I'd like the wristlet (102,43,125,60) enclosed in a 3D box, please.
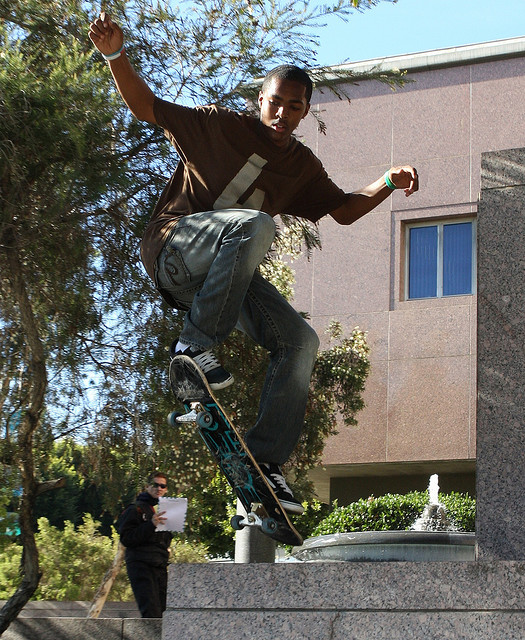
[{"bbox_3d":[-0.660,-1.189,3.769,0.091,0.082,0.115,-2,4,-7],"label":"wristlet"}]

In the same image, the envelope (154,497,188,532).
[{"bbox_3d":[-0.670,1.455,6.353,0.287,0.256,0.070,1,-6,30],"label":"envelope"}]

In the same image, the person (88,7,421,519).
[{"bbox_3d":[-0.079,-0.307,4.202,1.102,2.264,1.368,0,4,20],"label":"person"}]

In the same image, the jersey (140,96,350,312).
[{"bbox_3d":[-0.086,-0.627,4.217,0.996,0.843,0.537,-3,4,-17],"label":"jersey"}]
